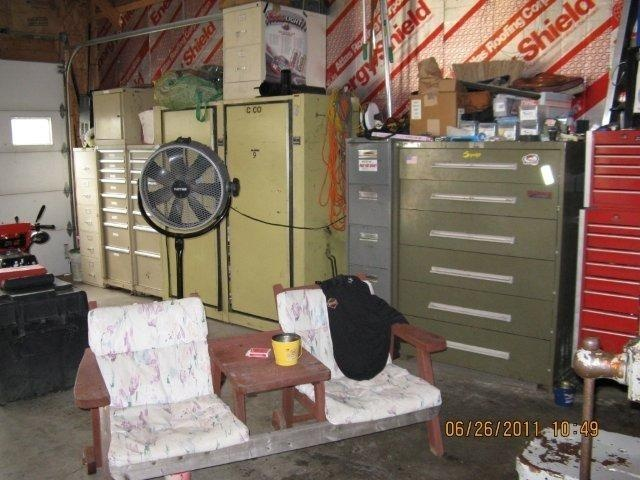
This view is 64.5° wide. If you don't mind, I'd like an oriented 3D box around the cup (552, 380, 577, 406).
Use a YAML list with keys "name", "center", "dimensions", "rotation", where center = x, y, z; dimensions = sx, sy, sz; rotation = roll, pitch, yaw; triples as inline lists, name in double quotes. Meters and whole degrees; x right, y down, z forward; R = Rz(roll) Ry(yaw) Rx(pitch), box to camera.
- name: "cup"
  center: [1.753, 1.099, 3.673]
  dimensions: [0.167, 0.139, 0.162]
  rotation: [-1, 12, 0]

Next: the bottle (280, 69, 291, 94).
- name: "bottle"
  center: [-0.318, -1.445, 4.684]
  dimensions: [0.087, 0.223, 0.092]
  rotation: [-1, 11, 0]

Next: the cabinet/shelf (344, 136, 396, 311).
- name: "cabinet/shelf"
  center: [0.526, -0.124, 4.688]
  dimensions: [0.472, 1.482, 0.458]
  rotation: [4, 10, 28]

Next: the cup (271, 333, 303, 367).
- name: "cup"
  center: [-0.192, 0.611, 2.856]
  dimensions: [0.157, 0.146, 0.173]
  rotation: [-1, 11, 0]

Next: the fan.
- name: "fan"
  center: [-0.935, -0.143, 3.657]
  dimensions: [0.676, 1.145, 0.604]
  rotation: [-5, 12, -19]

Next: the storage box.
- name: "storage box"
  center: [1.453, -1.236, 4.409]
  dimensions: [1.283, 0.738, 0.781]
  rotation: [9, 14, 42]

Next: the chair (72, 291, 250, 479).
- name: "chair"
  center: [-0.921, 0.780, 2.851]
  dimensions: [0.967, 0.879, 1.059]
  rotation: [-6, 17, -25]
